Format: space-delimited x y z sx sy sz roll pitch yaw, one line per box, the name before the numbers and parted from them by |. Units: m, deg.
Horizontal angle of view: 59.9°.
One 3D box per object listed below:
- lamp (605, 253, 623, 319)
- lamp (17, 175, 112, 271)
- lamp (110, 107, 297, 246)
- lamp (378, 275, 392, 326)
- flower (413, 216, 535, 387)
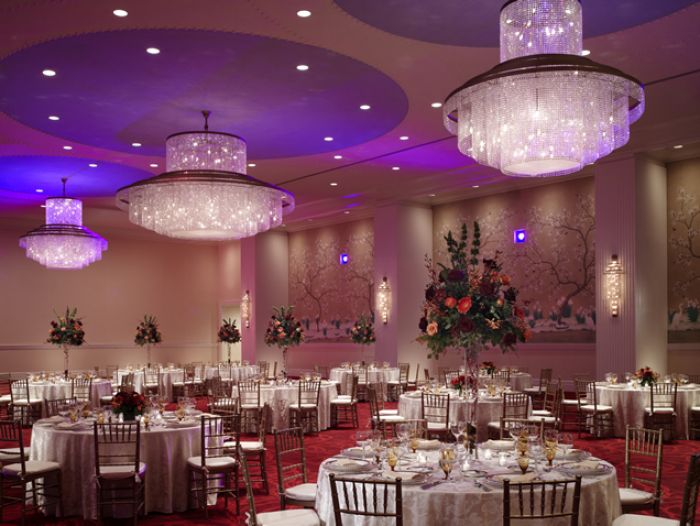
lamp | 5.426 0.465 12.466 0.403 1.287 0.200 -8 -9 40
lamp | -6.592 -0.861 14.415 1.651 2.125 1.777 -1 -8 -5
lamp | -2.278 -1.063 10.388 2.153 1.740 2.336 -1 -18 -5
lamp | 0.939 1.077 17.142 0.222 1.360 0.546 4 -9 -41
flower | 1.138 0.348 5.710 0.977 1.470 0.526 -3 -7 8
